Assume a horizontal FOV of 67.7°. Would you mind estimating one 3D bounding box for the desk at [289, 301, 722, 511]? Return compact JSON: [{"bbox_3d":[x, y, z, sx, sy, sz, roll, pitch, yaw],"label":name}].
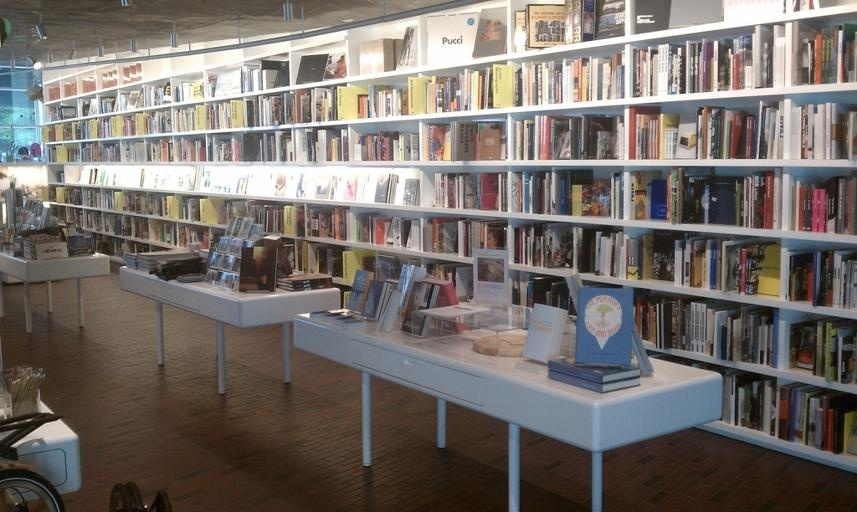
[{"bbox_3d":[0.457,1.056,4.326,2.507,1.018,0.751,9,16,35],"label":"desk"}]
